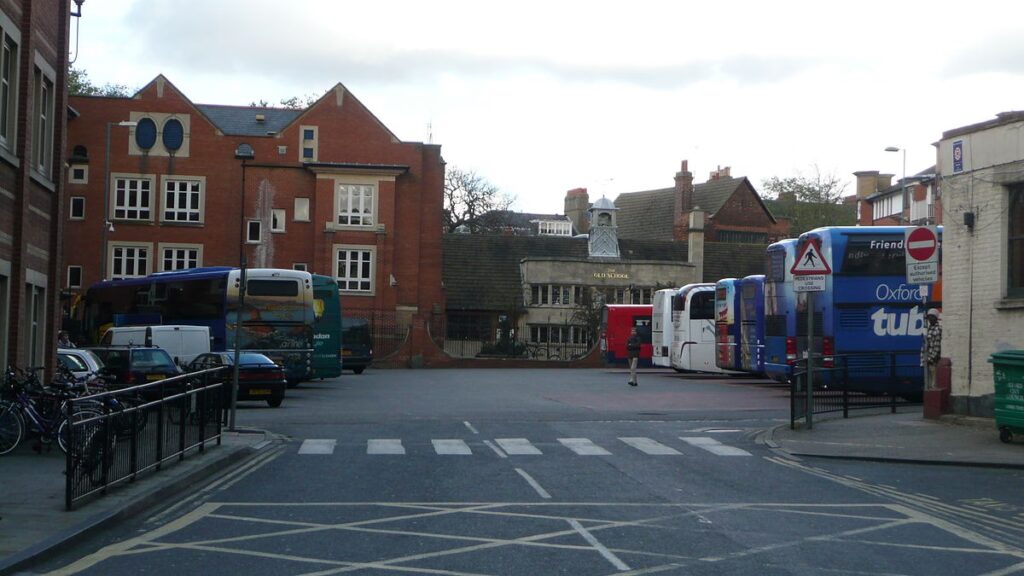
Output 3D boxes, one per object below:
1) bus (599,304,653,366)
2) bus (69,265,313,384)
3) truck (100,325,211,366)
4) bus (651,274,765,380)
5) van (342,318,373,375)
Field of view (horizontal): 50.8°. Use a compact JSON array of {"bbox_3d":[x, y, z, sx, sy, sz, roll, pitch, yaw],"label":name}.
[{"bbox_3d":[5.483,2.438,61.676,4.793,2.179,1.730,-1,3,-9],"label":"bus"},{"bbox_3d":[-12.852,1.379,46.355,12.572,4.742,4.842,1,-1,32],"label":"bus"},{"bbox_3d":[-12.975,1.816,39.020,3.780,1.758,2.271,2,1,38],"label":"truck"},{"bbox_3d":[6.409,1.826,50.660,3.539,4.641,9.498,1,-2,-13],"label":"bus"},{"bbox_3d":[-7.668,2.703,52.541,1.059,2.463,1.771,4,6,30],"label":"van"}]
